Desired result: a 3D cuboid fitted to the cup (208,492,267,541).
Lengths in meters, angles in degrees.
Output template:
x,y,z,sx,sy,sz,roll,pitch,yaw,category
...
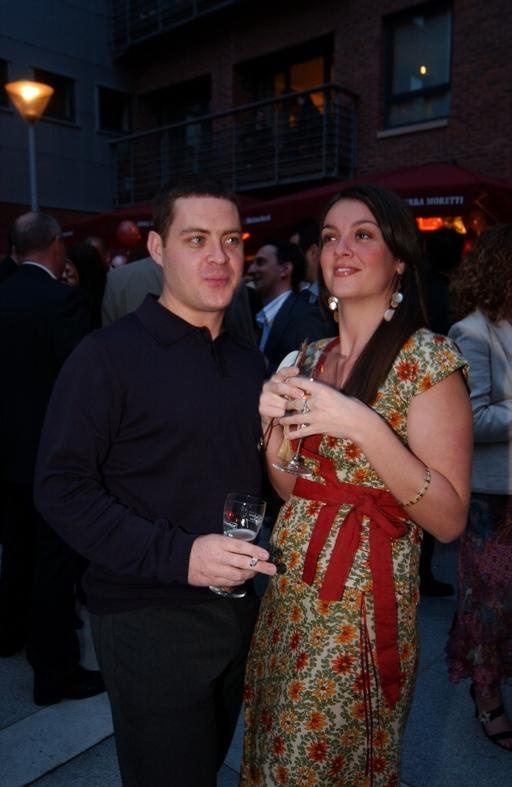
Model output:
x,y,z,sx,sy,sz,roll,pitch,yaw,category
-0.035,0.303,1.444,0.103,0.110,0.103,4,-8,1,cup
